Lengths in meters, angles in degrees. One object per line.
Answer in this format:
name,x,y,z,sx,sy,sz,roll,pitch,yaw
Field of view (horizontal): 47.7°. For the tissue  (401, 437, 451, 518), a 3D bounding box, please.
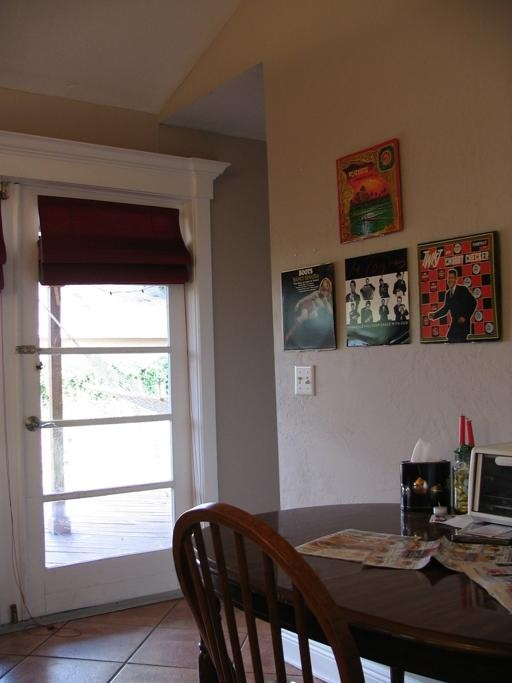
tissue ,0.419,0.329,1.428,0.124,0.160,0.123,-2,-9,12
